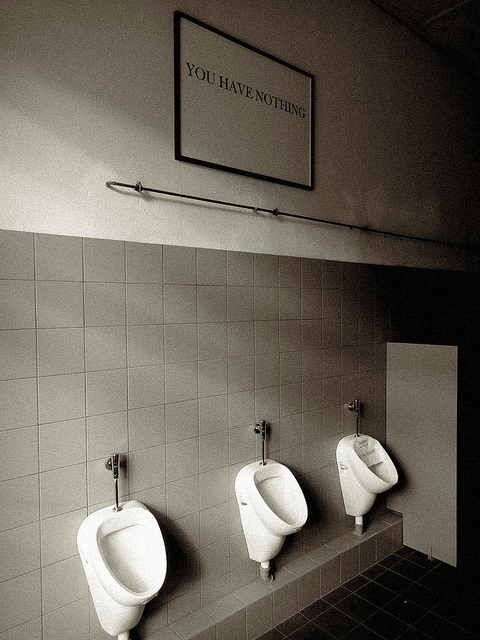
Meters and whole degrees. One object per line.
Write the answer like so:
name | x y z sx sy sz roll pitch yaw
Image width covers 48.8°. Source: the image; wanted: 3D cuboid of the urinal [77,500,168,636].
urinal | -0.409 0.915 1.930 0.341 0.443 0.351 -2 -3 -24

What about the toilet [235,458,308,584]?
toilet | 0.177 0.866 2.417 0.356 0.442 0.288 -1 -4 -36

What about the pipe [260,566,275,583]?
pipe | 0.128 1.183 2.466 0.062 0.098 0.047 0 1 10

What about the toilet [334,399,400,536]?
toilet | 0.719 0.818 2.944 0.281 0.740 0.357 -5 -3 43

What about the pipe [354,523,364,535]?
pipe | 0.658 1.157 2.923 0.037 0.076 0.045 0 -5 -6
